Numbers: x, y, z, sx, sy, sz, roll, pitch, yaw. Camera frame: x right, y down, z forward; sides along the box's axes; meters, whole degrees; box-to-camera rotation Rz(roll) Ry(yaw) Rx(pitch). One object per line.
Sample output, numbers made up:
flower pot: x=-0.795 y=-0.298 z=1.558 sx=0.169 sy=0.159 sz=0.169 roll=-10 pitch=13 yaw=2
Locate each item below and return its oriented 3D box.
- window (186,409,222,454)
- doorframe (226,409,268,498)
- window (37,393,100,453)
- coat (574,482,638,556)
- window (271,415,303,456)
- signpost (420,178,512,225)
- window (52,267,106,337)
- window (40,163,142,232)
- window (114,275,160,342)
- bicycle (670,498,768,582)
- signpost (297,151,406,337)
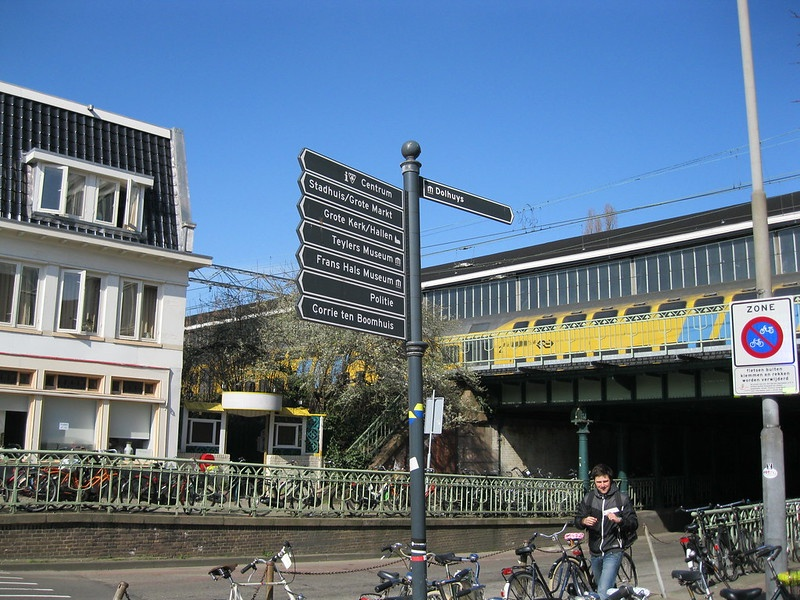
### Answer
window: x=-6.948 y=4.595 z=30.911 sx=1.427 sy=1.636 sz=0.070 roll=11 pitch=-19 yaw=-40
doorframe: x=-5.640 y=6.111 z=34.982 sx=1.748 sy=3.338 sz=1.893 roll=-2 pitch=-4 yaw=28
window: x=-9.905 y=3.667 z=26.227 sx=1.640 sy=1.587 sz=0.187 roll=11 pitch=-27 yaw=-39
coat: x=3.370 y=3.533 z=14.424 sx=0.920 sy=1.032 sz=1.080 roll=-16 pitch=-36 yaw=27
window: x=-4.176 y=4.892 z=31.934 sx=1.334 sy=1.323 sz=0.722 roll=10 pitch=-12 yaw=-37
signpost: x=0.778 y=-1.308 z=11.630 sx=1.809 sy=0.374 sz=0.049 roll=15 pitch=-19 yaw=-30
window: x=-9.681 y=0.085 z=26.664 sx=1.228 sy=1.903 sz=0.501 roll=6 pitch=-18 yaw=-25
window: x=-9.644 y=-3.108 z=27.144 sx=2.247 sy=1.048 sz=0.393 roll=8 pitch=-18 yaw=-33
window: x=-8.294 y=0.299 z=27.612 sx=0.239 sy=2.129 sz=1.679 roll=-8 pitch=-18 yaw=40
bicycle: x=7.005 y=5.111 z=18.780 sx=1.429 sy=1.720 sz=3.399 roll=-10 pitch=-8 yaw=38
signpost: x=-0.701 y=-0.660 z=11.845 sx=2.382 sy=2.716 sz=0.043 roll=7 pitch=-14 yaw=-39
